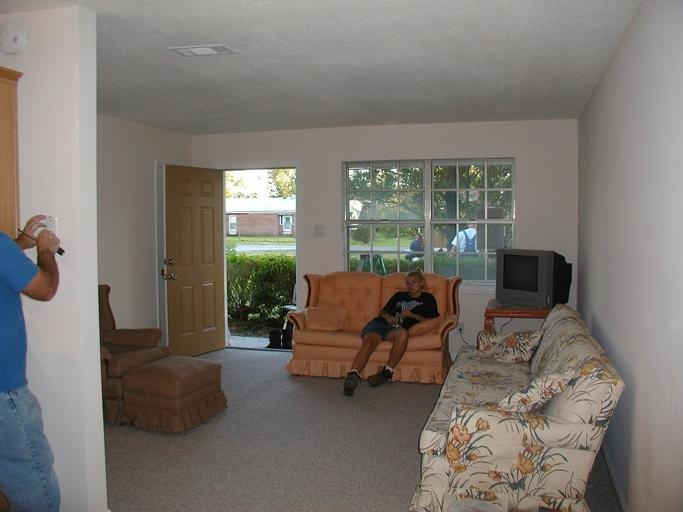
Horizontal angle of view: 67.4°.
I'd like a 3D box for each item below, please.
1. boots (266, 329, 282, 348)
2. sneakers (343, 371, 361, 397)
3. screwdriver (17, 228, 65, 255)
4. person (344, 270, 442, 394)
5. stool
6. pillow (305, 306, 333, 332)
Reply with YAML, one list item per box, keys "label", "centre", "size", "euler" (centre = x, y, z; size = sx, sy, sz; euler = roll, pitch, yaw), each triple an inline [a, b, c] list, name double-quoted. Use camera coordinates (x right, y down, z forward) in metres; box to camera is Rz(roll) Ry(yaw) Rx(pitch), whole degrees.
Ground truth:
- label: "boots"
  centre: [-0.958, 1.145, 7.088]
  size: [0.168, 0.241, 0.281]
  euler: [-6, 8, -42]
- label: "sneakers"
  centre: [0.108, 1.257, 5.094]
  size: [0.106, 0.295, 0.131]
  euler: [6, 24, -3]
- label: "screwdriver"
  centre: [-1.598, -0.076, 2.724]
  size: [0.257, 0.060, 0.051]
  euler: [30, -11, -14]
- label: "person"
  centre: [0.543, 0.762, 5.529]
  size: [0.706, 0.724, 1.654]
  euler: [9, 24, 29]
- label: "stool"
  centre: [-1.442, 1.124, 4.506]
  size: [0.652, 0.356, 0.592]
  euler: [0, 2, 35]
- label: "pillow"
  centre: [-0.240, 0.718, 5.811]
  size: [0.251, 0.186, 0.253]
  euler: [3, -3, 13]
